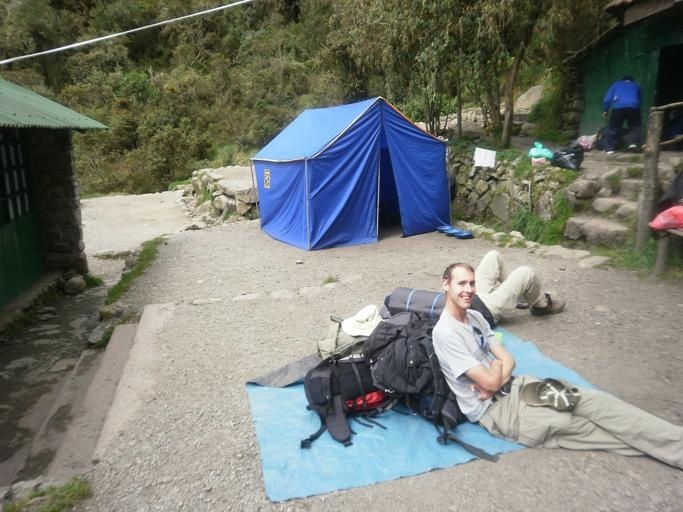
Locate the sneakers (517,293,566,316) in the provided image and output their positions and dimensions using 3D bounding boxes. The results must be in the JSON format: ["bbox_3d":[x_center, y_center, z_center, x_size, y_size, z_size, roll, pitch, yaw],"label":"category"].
[{"bbox_3d":[2.550,0.619,5.926,0.424,0.203,0.146,-14,29,-16],"label":"sneakers"}]

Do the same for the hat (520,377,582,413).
[{"bbox_3d":[1.828,1.209,4.086,0.353,0.091,0.259,5,59,26],"label":"hat"}]

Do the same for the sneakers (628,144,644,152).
[{"bbox_3d":[6.489,-2.398,10.244,0.210,0.148,0.264,4,-3,-32],"label":"sneakers"}]

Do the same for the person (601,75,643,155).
[{"bbox_3d":[6.339,-3.190,10.440,0.827,1.692,0.735,12,19,40],"label":"person"}]

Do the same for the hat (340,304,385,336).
[{"bbox_3d":[0.219,0.726,5.042,0.341,0.132,0.324,-9,18,-25],"label":"hat"}]

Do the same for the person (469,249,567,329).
[{"bbox_3d":[2.131,0.392,5.890,1.206,0.636,0.786,-12,23,-17],"label":"person"}]

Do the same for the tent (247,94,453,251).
[{"bbox_3d":[0.271,-2.043,11.040,4.524,3.228,2.670,-2,14,-5],"label":"tent"}]
